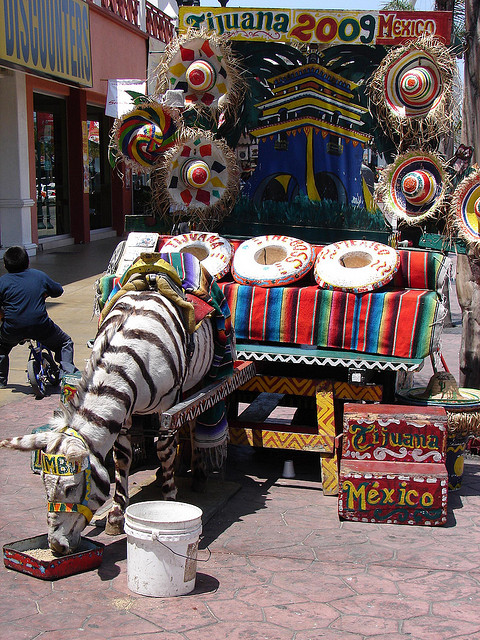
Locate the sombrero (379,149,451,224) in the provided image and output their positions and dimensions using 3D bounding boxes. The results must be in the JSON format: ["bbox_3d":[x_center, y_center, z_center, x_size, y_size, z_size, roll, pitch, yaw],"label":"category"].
[{"bbox_3d":[1.540,-1.191,5.749,0.635,0.598,0.245,22,6,28],"label":"sombrero"}]

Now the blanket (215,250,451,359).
[{"bbox_3d":[0.733,-0.221,5.563,1.988,0.657,0.722,5,20,18],"label":"blanket"}]

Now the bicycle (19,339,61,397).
[{"bbox_3d":[-2.401,0.582,7.934,0.434,0.467,0.778,-7,17,3],"label":"bicycle"}]
